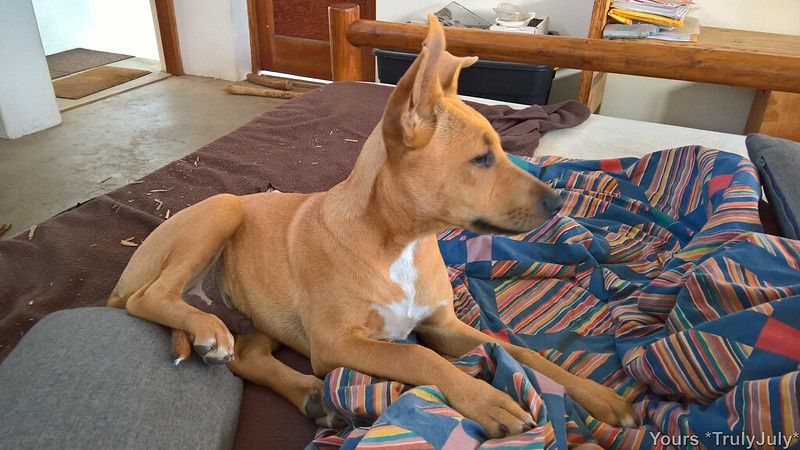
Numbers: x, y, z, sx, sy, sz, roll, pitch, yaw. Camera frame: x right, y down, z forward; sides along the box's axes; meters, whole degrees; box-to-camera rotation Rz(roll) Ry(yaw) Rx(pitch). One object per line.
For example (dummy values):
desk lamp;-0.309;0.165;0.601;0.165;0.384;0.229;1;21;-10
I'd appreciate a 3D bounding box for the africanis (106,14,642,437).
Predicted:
africanis;-0.468;-0.225;2.709;2.925;1.776;1.416;19;25;19

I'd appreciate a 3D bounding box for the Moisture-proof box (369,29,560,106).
Moisture-proof box;0.786;-1.701;5.241;1.543;0.479;1.011;12;36;16
